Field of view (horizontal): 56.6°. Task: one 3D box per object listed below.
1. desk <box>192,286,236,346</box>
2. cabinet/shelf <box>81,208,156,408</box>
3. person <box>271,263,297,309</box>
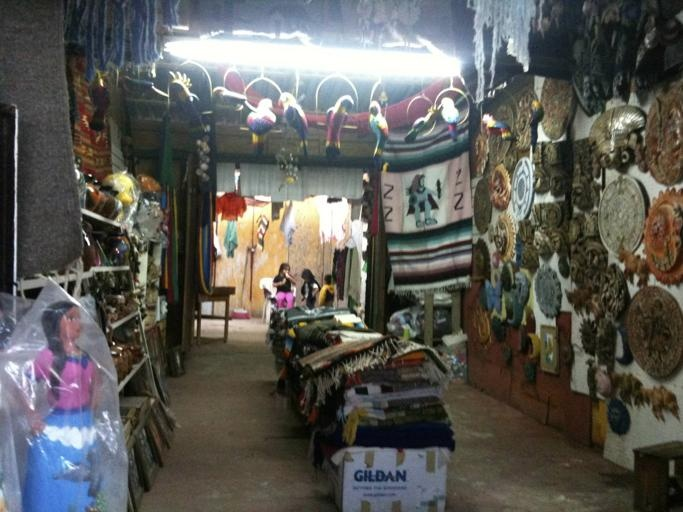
[{"bbox_3d":[-2.222,0.949,10.653,0.780,0.920,0.708,2,-3,-19],"label":"desk"},{"bbox_3d":[-1.464,0.327,4.125,0.376,1.378,1.275,-4,3,-11],"label":"cabinet/shelf"},{"bbox_3d":[-1.051,0.563,11.586,0.419,1.188,0.667,2,-41,-7],"label":"person"}]
